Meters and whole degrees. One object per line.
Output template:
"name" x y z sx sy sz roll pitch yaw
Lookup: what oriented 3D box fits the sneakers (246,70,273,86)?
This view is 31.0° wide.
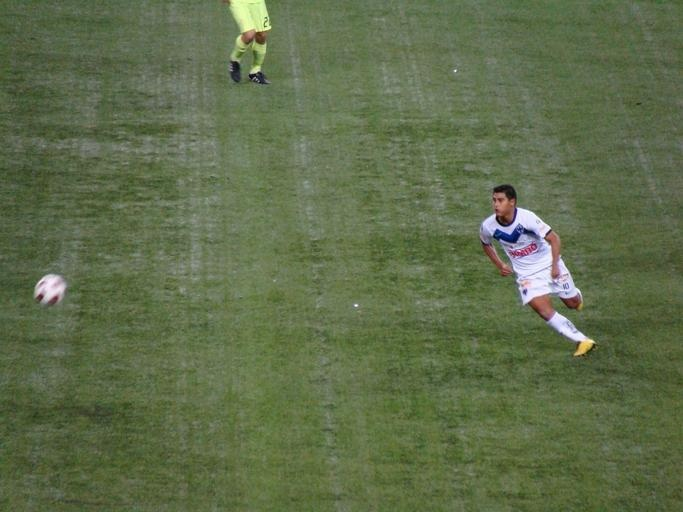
"sneakers" -1.366 -2.894 20.223 0.335 0.140 0.172 19 37 27

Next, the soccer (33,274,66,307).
"soccer" -4.051 0.466 17.337 0.364 0.260 0.493 27 62 13

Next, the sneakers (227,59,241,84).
"sneakers" -1.755 -3.020 20.215 0.146 0.157 0.369 -11 89 -14

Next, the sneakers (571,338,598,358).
"sneakers" 3.274 1.285 16.797 0.196 0.110 0.324 17 42 37
